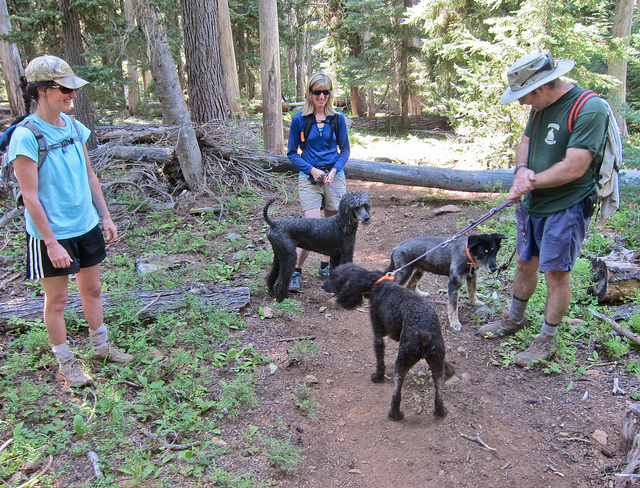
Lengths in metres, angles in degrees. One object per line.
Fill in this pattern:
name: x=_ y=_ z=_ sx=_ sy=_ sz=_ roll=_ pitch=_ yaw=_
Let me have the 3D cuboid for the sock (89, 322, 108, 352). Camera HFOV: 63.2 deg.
sock: x=-2.547 y=1.084 z=6.006 sx=0.185 sy=0.297 sz=0.120 roll=-14 pitch=24 yaw=-25

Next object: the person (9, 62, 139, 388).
person: x=-2.705 y=-0.169 z=5.607 sx=0.789 sy=3.388 sz=1.070 roll=2 pitch=22 yaw=13

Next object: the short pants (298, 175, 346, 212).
short pants: x=-0.021 y=-0.736 z=7.889 sx=0.859 sy=0.763 sz=0.483 roll=-2 pitch=8 yaw=-12

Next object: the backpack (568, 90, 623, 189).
backpack: x=3.043 y=-1.167 z=5.746 sx=0.567 sy=1.032 sz=0.361 roll=7 pitch=24 yaw=26

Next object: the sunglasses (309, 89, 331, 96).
sunglasses: x=0.007 y=-2.132 z=7.300 sx=0.282 sy=0.079 sz=0.080 roll=-4 pitch=21 yaw=-2

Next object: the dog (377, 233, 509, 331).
dog: x=1.610 y=0.364 z=7.300 sx=0.781 sy=1.237 sz=2.056 roll=-21 pitch=23 yaw=-40
